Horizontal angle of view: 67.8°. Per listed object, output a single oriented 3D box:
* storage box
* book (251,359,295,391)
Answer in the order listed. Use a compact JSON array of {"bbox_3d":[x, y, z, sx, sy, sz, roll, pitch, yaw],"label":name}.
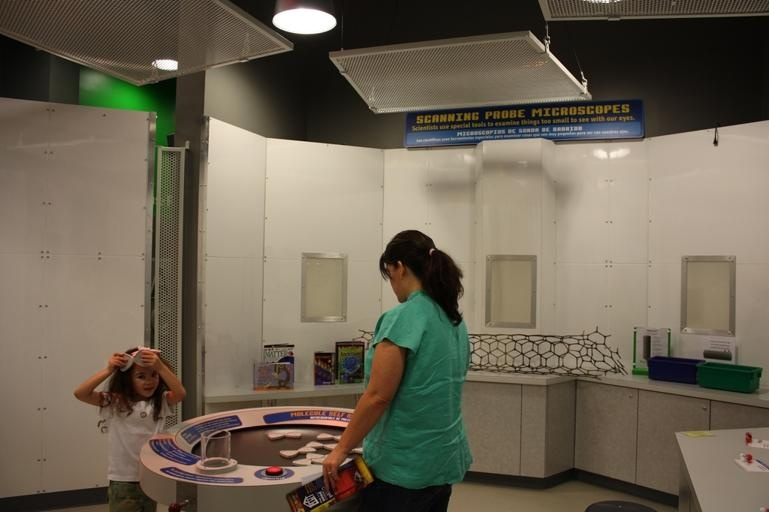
[{"bbox_3d":[3.040,1.055,5.439,0.724,0.178,0.352,3,-1,37],"label":"storage box"},{"bbox_3d":[-1.138,1.230,5.868,0.389,0.276,0.076,2,-2,-14],"label":"book"}]
